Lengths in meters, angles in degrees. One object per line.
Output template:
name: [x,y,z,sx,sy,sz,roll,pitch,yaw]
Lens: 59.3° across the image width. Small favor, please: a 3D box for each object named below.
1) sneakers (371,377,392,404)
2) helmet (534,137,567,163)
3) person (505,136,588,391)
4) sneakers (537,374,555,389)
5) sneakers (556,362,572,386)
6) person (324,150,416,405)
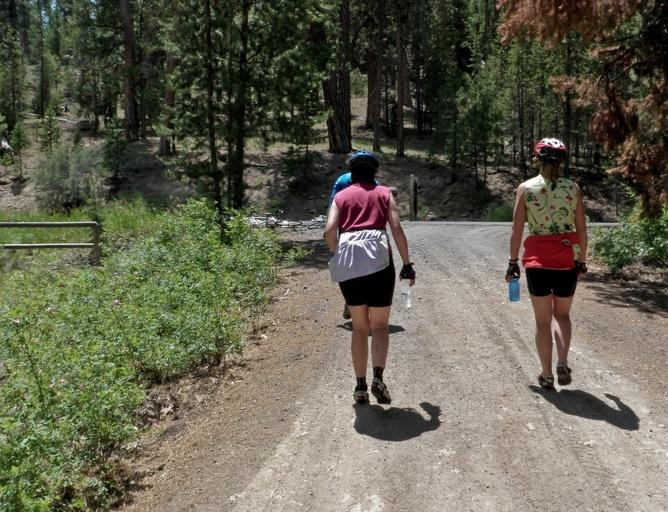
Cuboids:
sneakers: [0.509,1.481,6.455,0.135,0.409,0.185,-14,29,19]
helmet: [2.462,-1.206,6.671,0.306,0.284,0.371,1,16,19]
person: [2.459,0.096,6.798,0.767,2.855,0.636,8,18,39]
sneakers: [2.476,1.471,6.812,0.083,0.110,0.243,-2,14,2]
sneakers: [2.643,1.339,6.745,0.120,0.304,0.120,-2,7,21]
person: [0.394,0.300,6.462,0.932,2.749,0.794,-1,14,9]
